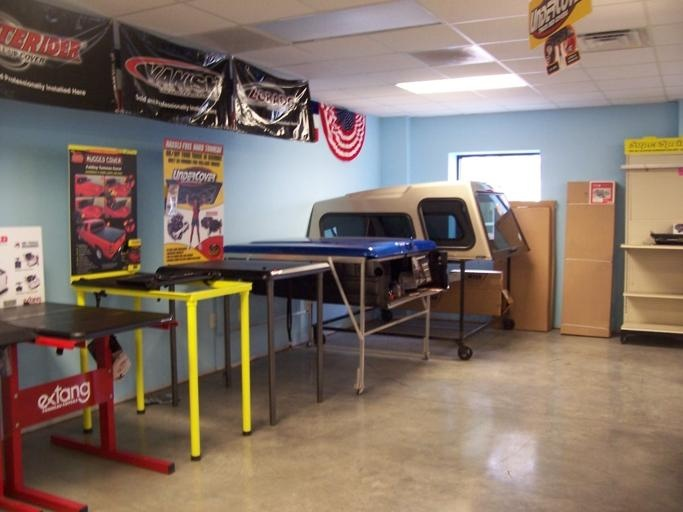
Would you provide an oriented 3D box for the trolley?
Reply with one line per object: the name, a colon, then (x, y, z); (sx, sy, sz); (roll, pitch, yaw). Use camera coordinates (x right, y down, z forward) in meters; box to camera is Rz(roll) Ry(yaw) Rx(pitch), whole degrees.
trolley: (0.955, 0.078, 7.552); (2.616, 1.961, 1.925); (0, 1, 24)
